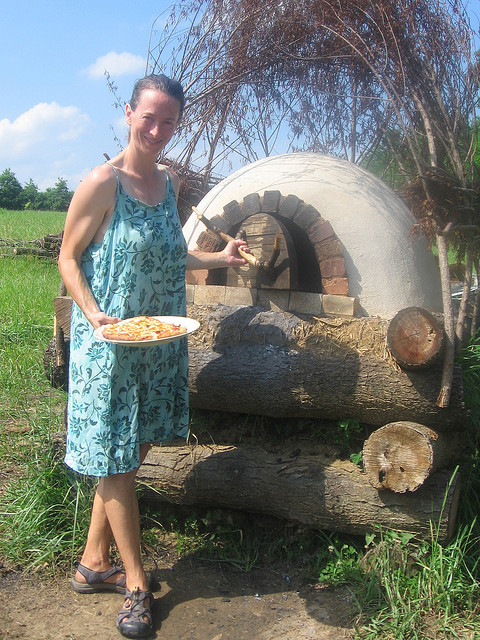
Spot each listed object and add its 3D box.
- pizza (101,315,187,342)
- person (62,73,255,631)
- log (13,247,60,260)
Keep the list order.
[{"bbox_3d":[-0.373,0.035,2.187,0.292,0.053,0.390,9,8,27],"label":"pizza"},{"bbox_3d":[-0.464,0.158,2.547,0.673,2.440,1.057,6,8,-2],"label":"person"},{"bbox_3d":[-4.513,-1.490,12.361,1.230,0.192,0.349,8,8,23],"label":"log"}]
